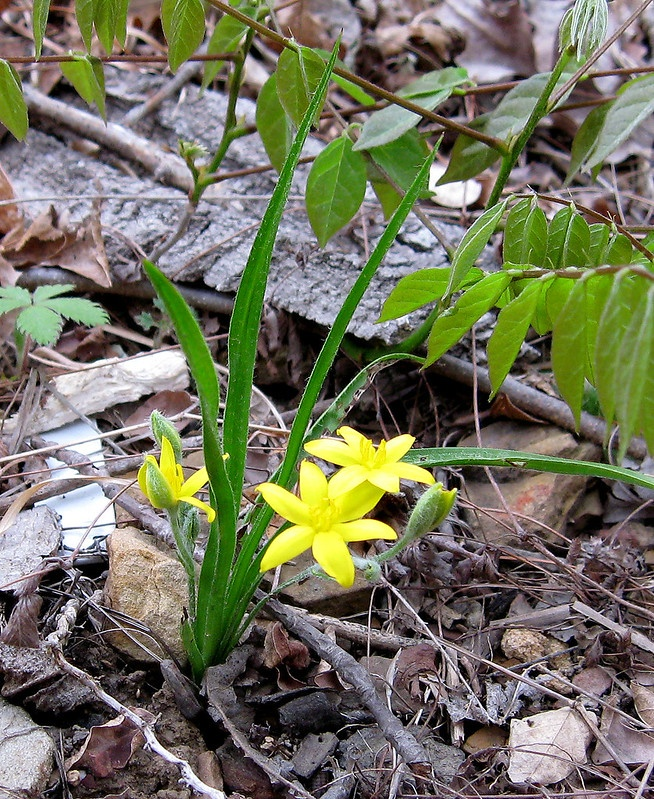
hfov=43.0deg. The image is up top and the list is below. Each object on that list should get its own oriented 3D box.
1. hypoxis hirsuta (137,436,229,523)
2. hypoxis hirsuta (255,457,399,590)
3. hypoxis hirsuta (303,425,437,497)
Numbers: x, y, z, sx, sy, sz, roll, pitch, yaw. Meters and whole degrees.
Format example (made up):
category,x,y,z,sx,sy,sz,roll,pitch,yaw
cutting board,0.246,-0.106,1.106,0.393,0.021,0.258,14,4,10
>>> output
category,x,y,z,sx,sy,sz,roll,pitch,yaw
hypoxis hirsuta,-0.260,0.141,1.426,0.115,0.164,0.179,-12,50,-24
hypoxis hirsuta,-0.008,0.209,1.379,0.240,0.102,0.201,14,43,2
hypoxis hirsuta,0.075,0.108,1.423,0.161,0.053,0.147,3,40,-11
